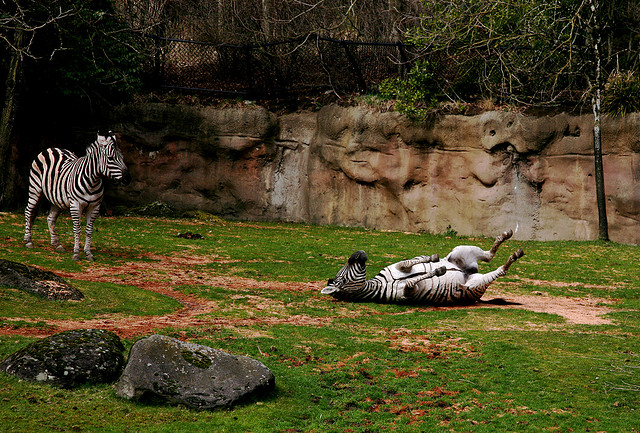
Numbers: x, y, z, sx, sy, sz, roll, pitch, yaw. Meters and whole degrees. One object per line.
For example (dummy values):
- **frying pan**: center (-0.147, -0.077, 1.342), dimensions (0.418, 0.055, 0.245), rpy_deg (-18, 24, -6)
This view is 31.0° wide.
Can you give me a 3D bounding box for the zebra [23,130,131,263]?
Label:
- **zebra**: center (-7.420, -0.644, 35.243), dimensions (1.468, 3.836, 5.465), rpy_deg (1, 4, -42)
